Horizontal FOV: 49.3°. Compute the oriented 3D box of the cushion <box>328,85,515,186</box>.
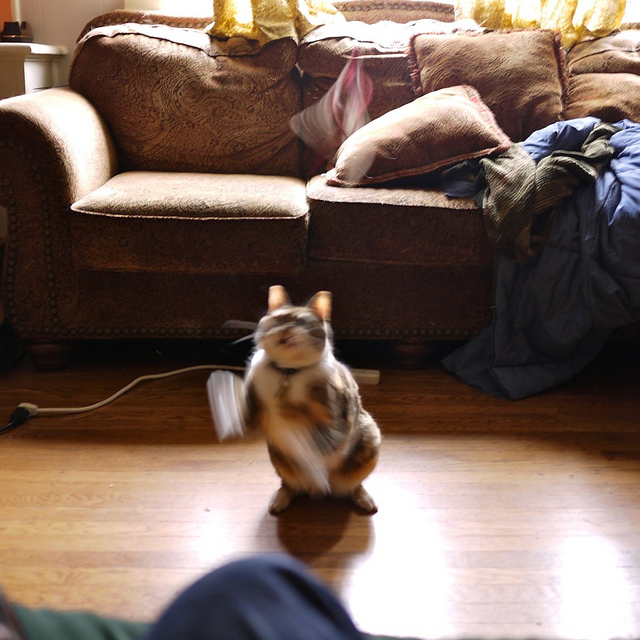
[{"bbox_3d":[0.266,-0.507,1.983,0.442,0.105,0.340,-16,32,8],"label":"cushion"}]

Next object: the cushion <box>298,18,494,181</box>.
[{"bbox_3d":[0.197,-0.835,2.571,0.748,0.449,0.613,-3,-7,-4],"label":"cushion"}]

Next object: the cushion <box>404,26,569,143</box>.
[{"bbox_3d":[0.532,-0.762,2.270,0.560,0.134,0.394,1,71,2],"label":"cushion"}]

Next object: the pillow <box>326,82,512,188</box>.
[{"bbox_3d":[0.287,-0.468,2.029,0.453,0.107,0.348,-18,31,2],"label":"pillow"}]

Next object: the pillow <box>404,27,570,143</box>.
[{"bbox_3d":[0.492,-0.765,2.267,0.531,0.126,0.377,1,69,2],"label":"pillow"}]

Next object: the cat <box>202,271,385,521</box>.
[{"bbox_3d":[-0.035,0.186,1.292,0.321,0.542,0.215,-5,41,-8],"label":"cat"}]

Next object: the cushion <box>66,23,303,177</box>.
[{"bbox_3d":[-0.410,-0.728,2.376,0.893,0.437,0.332,4,12,-32],"label":"cushion"}]

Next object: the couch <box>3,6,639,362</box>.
[{"bbox_3d":[0.052,-0.460,2.204,1.821,0.798,1.076,1,36,-2],"label":"couch"}]

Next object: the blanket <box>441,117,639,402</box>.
[{"bbox_3d":[0.686,-0.096,1.852,0.559,0.643,0.338,-23,46,-28],"label":"blanket"}]

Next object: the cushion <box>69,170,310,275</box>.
[{"bbox_3d":[-0.353,-0.358,2.149,0.668,0.229,0.691,1,28,2],"label":"cushion"}]
